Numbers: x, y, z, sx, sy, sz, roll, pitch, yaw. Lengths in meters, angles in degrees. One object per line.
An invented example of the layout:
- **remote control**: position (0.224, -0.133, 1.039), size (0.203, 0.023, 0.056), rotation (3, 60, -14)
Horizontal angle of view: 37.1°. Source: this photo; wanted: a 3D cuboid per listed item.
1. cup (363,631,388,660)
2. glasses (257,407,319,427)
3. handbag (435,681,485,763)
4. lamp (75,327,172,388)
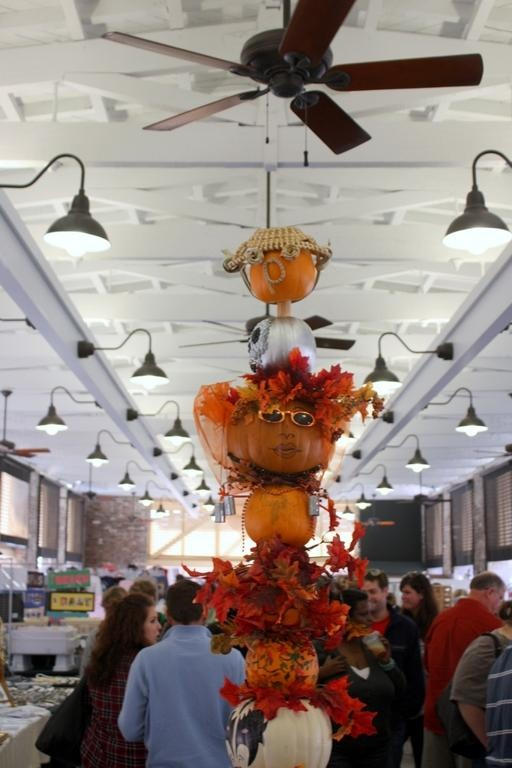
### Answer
- **cup**: position (0.545, 1.203, 3.522), size (0.105, 0.112, 0.126), rotation (-4, -16, 6)
- **glasses**: position (0.081, 0.089, 1.993), size (0.145, 0.048, 0.057), rotation (-1, -16, -4)
- **handbag**: position (0.936, 1.575, 3.516), size (0.166, 0.314, 0.497), rotation (-4, -16, 8)
- **lamp**: position (-1.272, -0.262, 7.470), size (0.868, 0.500, 0.375), rotation (4, -3, -3)
